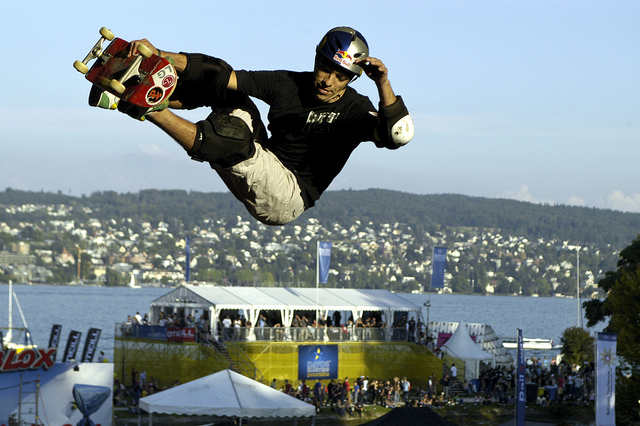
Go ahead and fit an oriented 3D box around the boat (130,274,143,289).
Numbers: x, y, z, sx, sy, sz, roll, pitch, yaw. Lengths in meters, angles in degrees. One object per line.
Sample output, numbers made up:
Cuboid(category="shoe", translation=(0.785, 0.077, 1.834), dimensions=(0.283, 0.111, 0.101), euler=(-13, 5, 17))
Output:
Cuboid(category="boat", translation=(-84.464, 31.169, 629.691), dimensions=(5.473, 7.931, 21.314), euler=(0, 2, -8))
